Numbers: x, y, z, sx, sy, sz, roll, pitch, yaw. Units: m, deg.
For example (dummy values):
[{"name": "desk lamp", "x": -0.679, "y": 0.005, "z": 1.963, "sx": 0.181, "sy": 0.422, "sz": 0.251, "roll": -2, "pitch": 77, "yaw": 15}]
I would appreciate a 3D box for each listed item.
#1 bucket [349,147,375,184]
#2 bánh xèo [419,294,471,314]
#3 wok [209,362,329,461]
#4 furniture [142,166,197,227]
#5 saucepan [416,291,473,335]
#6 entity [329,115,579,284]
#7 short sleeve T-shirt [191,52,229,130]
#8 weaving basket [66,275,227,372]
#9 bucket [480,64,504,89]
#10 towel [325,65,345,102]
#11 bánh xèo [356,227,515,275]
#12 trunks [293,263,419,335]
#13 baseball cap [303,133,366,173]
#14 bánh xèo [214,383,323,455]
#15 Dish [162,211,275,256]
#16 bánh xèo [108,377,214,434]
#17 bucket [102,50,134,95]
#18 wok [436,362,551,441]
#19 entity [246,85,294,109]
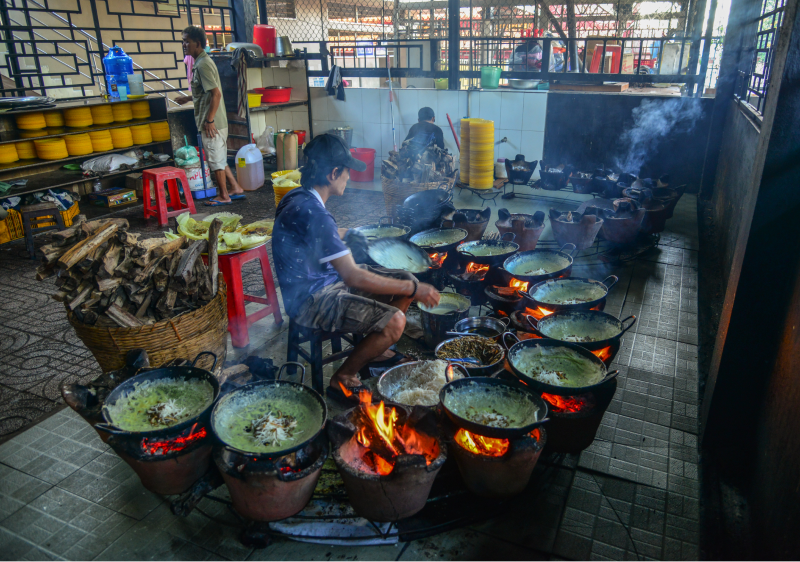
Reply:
[{"name": "bucket", "x": -0.840, "y": -2.418, "z": 10.607, "sx": 0.720, "sy": 0.682, "sz": 0.734, "roll": -2, "pitch": 14, "yaw": 0}, {"name": "bánh xèo", "x": 0.481, "y": 0.243, "z": 5.018, "sx": 0.309, "sy": 0.103, "sz": 0.253, "roll": -5, "pitch": 24, "yaw": -13}, {"name": "wok", "x": -0.879, "y": 0.900, "z": 3.471, "sx": 0.719, "sy": 0.176, "sz": 0.869, "roll": 6, "pitch": 28, "yaw": 5}, {"name": "furniture", "x": -3.949, "y": -1.445, "z": 8.533, "sx": 0.791, "sy": 0.755, "sz": 0.773, "roll": 13, "pitch": 25, "yaw": 29}, {"name": "saucepan", "x": 0.451, "y": 0.319, "z": 4.927, "sx": 0.461, "sy": 0.284, "sz": 0.411, "roll": -9, "pitch": 22, "yaw": -27}, {"name": "entity", "x": 0.355, "y": -1.162, "z": 6.766, "sx": 2.852, "sy": 0.978, "sz": 2.052, "roll": 18, "pitch": 30, "yaw": 39}, {"name": "short sleeve T-shirt", "x": -3.382, "y": -3.365, "z": 8.837, "sx": 0.531, "sy": 1.150, "sz": 0.905, "roll": -7, "pitch": 26, "yaw": -16}, {"name": "weaving basket", "x": -2.020, "y": 0.451, "z": 4.214, "sx": 0.876, "sy": 0.553, "sz": 0.971, "roll": -5, "pitch": 11, "yaw": 23}, {"name": "bucket", "x": 1.798, "y": -3.994, "z": 9.782, "sx": 0.468, "sy": 0.327, "sz": 0.443, "roll": 0, "pitch": 26, "yaw": 0}, {"name": "towel", "x": -1.388, "y": -4.195, "z": 10.684, "sx": 0.416, "sy": 0.736, "sz": 0.641, "roll": -5, "pitch": 26, "yaw": -5}, {"name": "bánh xèo", "x": 0.091, "y": -0.281, "z": 5.084, "sx": 1.020, "sy": 0.164, "sz": 0.742, "roll": -5, "pitch": 18, "yaw": -20}, {"name": "trunks", "x": -0.416, "y": 0.199, "z": 4.242, "sx": 0.768, "sy": 0.241, "sz": 0.649, "roll": 4, "pitch": 31, "yaw": -8}, {"name": "baseball cap", "x": -0.522, "y": -1.098, "z": 4.347, "sx": 0.586, "sy": 0.285, "sz": 0.385, "roll": -2, "pitch": 10, "yaw": -32}, {"name": "bánh xèo", "x": -0.866, "y": 0.949, "z": 3.395, "sx": 0.729, "sy": 0.153, "sz": 0.750, "roll": -8, "pitch": 25, "yaw": -28}, {"name": "Dish", "x": -1.863, "y": -0.505, "z": 5.209, "sx": 0.773, "sy": 0.166, "sz": 0.639, "roll": 14, "pitch": 23, "yaw": 31}, {"name": "bánh xèo", "x": -1.696, "y": 0.852, "z": 3.546, "sx": 0.661, "sy": 0.141, "sz": 0.440, "roll": -19, "pitch": 30, "yaw": -32}, {"name": "bucket", "x": -5.038, "y": -3.730, "z": 8.924, "sx": 0.515, "sy": 0.795, "sz": 0.414, "roll": -15, "pitch": 28, "yaw": -23}, {"name": "wok", "x": 0.637, "y": 0.868, "z": 3.458, "sx": 0.734, "sy": 0.173, "sz": 0.452, "roll": 4, "pitch": 26, "yaw": 14}, {"name": "entity", "x": -2.922, "y": -4.014, "z": 10.948, "sx": 0.471, "sy": 0.353, "sz": 1.235, "roll": 16, "pitch": 31, "yaw": 34}]
